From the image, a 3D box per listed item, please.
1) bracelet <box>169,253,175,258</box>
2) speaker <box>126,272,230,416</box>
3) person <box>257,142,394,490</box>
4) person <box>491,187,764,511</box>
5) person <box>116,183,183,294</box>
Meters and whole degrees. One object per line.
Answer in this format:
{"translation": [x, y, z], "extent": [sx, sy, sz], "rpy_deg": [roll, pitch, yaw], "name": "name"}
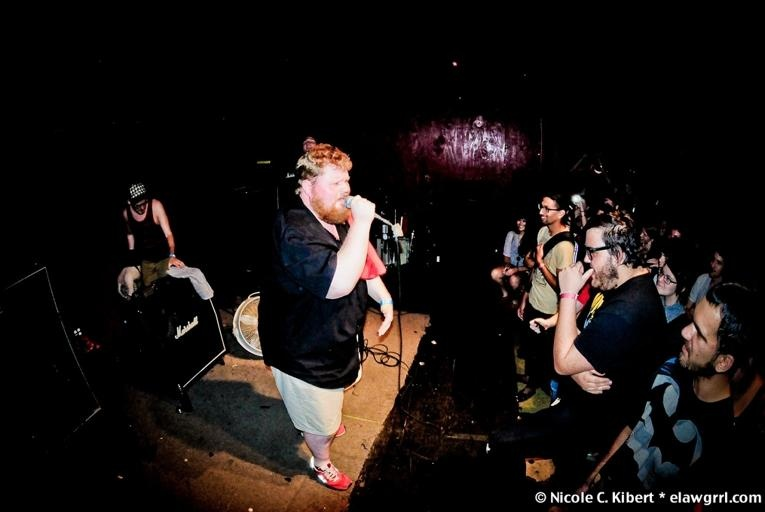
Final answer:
{"translation": [-2.336, -0.012, 5.831], "extent": [0.037, 0.033, 0.055], "rpy_deg": [-1, 8, 27], "name": "bracelet"}
{"translation": [-2.188, 0.949, 5.513], "extent": [0.844, 1.479, 0.983], "rpy_deg": [5, 24, 17], "name": "speaker"}
{"translation": [-0.532, 0.640, 4.680], "extent": [1.114, 3.169, 0.671], "rpy_deg": [-1, 17, -14], "name": "person"}
{"translation": [1.830, 0.891, 4.660], "extent": [1.092, 2.490, 0.615], "rpy_deg": [13, 19, 29], "name": "person"}
{"translation": [-2.410, -0.222, 5.502], "extent": [0.597, 0.789, 1.013], "rpy_deg": [-12, 39, -28], "name": "person"}
